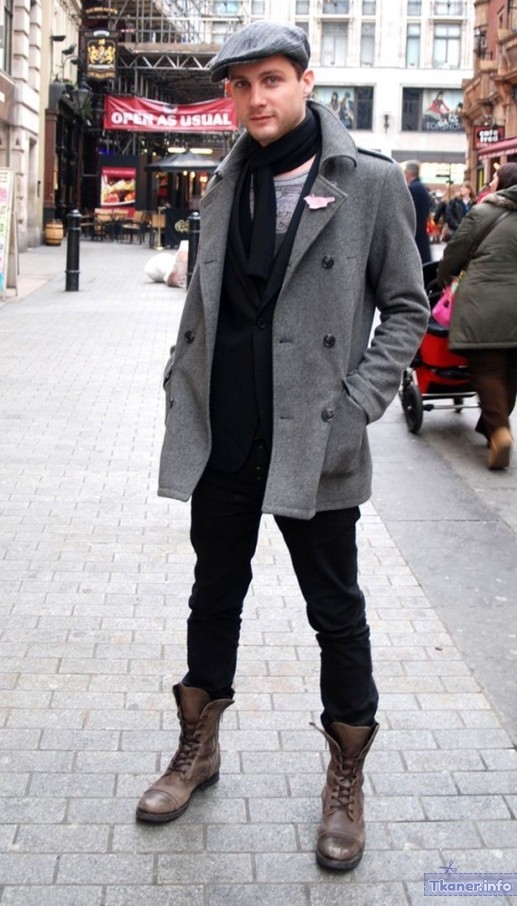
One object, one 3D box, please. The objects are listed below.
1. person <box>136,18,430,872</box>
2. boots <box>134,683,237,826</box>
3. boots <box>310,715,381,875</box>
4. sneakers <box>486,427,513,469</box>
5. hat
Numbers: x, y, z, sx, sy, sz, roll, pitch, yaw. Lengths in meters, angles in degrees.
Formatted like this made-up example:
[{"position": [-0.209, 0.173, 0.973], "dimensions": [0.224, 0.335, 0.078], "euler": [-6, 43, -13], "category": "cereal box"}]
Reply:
[{"position": [0.033, -0.002, 1.628], "dimensions": [0.593, 1.798, 0.350], "euler": [5, 7, 26], "category": "person"}, {"position": [-0.189, 0.741, 1.816], "dimensions": [0.121, 0.276, 0.351], "euler": [3, -1, 27], "category": "boots"}, {"position": [0.193, 0.759, 1.627], "dimensions": [0.110, 0.223, 0.306], "euler": [3, 5, 6], "category": "boots"}, {"position": [1.848, 0.010, 5.557], "dimensions": [0.135, 0.391, 0.165], "euler": [1, 38, 11], "category": "sneakers"}, {"position": [0.015, -0.803, 1.443], "dimensions": [0.162, 0.078, 0.133], "euler": [-10, 18, -17], "category": "hat"}]
